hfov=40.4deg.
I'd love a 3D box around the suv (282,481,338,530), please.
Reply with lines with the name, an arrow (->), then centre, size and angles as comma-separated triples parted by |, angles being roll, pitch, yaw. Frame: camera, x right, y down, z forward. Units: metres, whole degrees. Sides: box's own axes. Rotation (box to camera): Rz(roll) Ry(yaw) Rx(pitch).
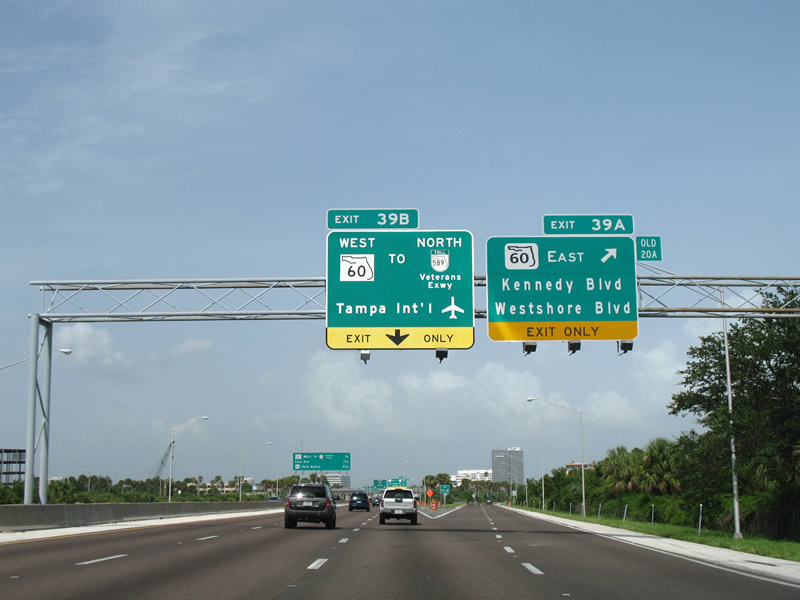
suv -> -4.509, 10.380, 55.079 | 2.479, 2.410, 4.484 | 2, -7, -2
